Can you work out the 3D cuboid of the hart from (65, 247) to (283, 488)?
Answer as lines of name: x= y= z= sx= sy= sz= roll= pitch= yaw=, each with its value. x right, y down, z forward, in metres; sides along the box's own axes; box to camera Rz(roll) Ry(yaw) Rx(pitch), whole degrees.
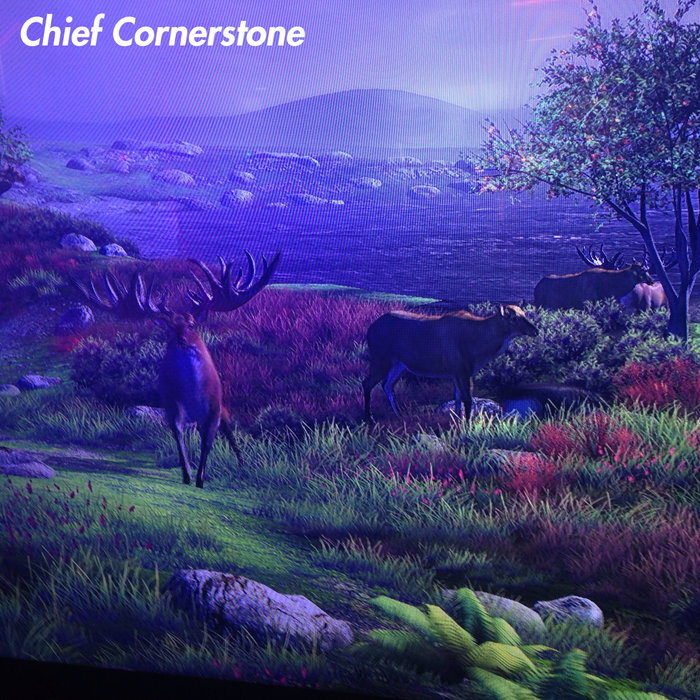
hart: x=-1.056 y=0.212 z=5.645 sx=1.194 sy=1.258 sz=1.293 roll=-6 pitch=-16 yaw=-14
